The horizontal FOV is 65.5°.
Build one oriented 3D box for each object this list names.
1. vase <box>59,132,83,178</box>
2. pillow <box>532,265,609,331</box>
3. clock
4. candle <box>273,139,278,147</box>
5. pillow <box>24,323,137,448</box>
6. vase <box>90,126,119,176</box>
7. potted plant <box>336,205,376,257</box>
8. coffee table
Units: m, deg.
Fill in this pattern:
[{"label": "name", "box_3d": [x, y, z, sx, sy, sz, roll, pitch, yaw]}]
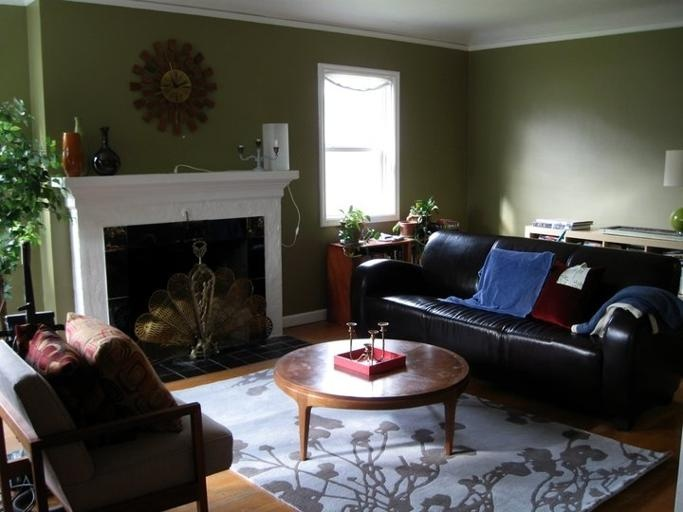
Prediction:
[{"label": "vase", "box_3d": [-2.050, -0.778, 4.054, 0.139, 0.338, 0.267, -9, 13, -39]}, {"label": "pillow", "box_3d": [1.635, 0.294, 3.759, 0.134, 0.423, 0.439, 30, -3, -26]}, {"label": "clock", "box_3d": [-1.475, -1.478, 4.581, 0.834, 0.855, 0.118, -9, 11, -29]}, {"label": "candle", "box_3d": [-0.591, -1.035, 4.863, 0.050, 0.066, 0.042, -2, 11, -8]}, {"label": "pillow", "box_3d": [-1.140, 0.513, 2.229, 0.463, 0.301, 0.259, 9, 14, 42]}, {"label": "vase", "box_3d": [-1.879, -0.832, 4.215, 0.284, 0.376, 0.186, 8, 13, 38]}, {"label": "potted plant", "box_3d": [0.127, -0.264, 5.445, 0.423, 0.502, 0.370, 2, -6, -11]}, {"label": "coffee table", "box_3d": [0.147, 0.706, 2.974, 0.748, 0.293, 0.768, 3, 9, 26]}]
